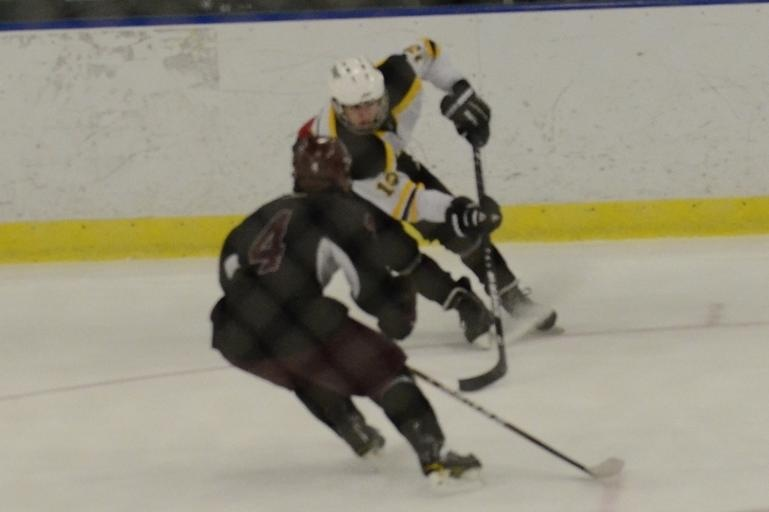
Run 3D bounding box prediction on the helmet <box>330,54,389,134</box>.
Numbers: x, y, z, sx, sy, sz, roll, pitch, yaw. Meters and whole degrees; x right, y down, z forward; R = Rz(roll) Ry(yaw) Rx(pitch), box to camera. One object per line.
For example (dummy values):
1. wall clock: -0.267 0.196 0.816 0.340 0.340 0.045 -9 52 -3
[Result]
1. helmet: -0.168 -1.016 9.034 0.356 0.380 0.406 -11 51 -5
